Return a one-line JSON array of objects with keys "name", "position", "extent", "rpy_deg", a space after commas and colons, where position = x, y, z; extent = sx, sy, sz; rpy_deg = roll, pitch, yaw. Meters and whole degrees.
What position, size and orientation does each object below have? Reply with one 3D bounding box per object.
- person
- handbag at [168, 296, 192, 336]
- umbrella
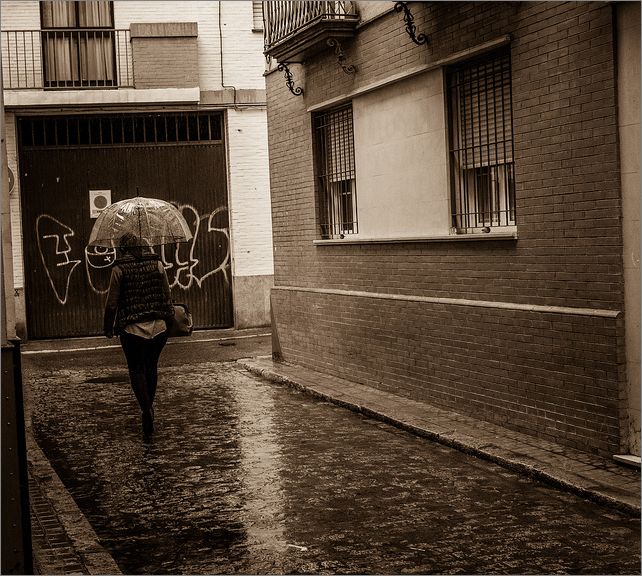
[{"name": "person", "position": [-1.841, 0.465, 9.159], "extent": [0.700, 2.041, 0.459], "rpy_deg": [-3, 4, -13]}, {"name": "handbag", "position": [-1.478, 0.320, 9.494], "extent": [0.283, 0.367, 0.230], "rpy_deg": [-1, 7, -16]}, {"name": "umbrella", "position": [-2.137, -0.785, 10.717], "extent": [1.123, 0.545, 1.251], "rpy_deg": [5, 16, 15]}]
